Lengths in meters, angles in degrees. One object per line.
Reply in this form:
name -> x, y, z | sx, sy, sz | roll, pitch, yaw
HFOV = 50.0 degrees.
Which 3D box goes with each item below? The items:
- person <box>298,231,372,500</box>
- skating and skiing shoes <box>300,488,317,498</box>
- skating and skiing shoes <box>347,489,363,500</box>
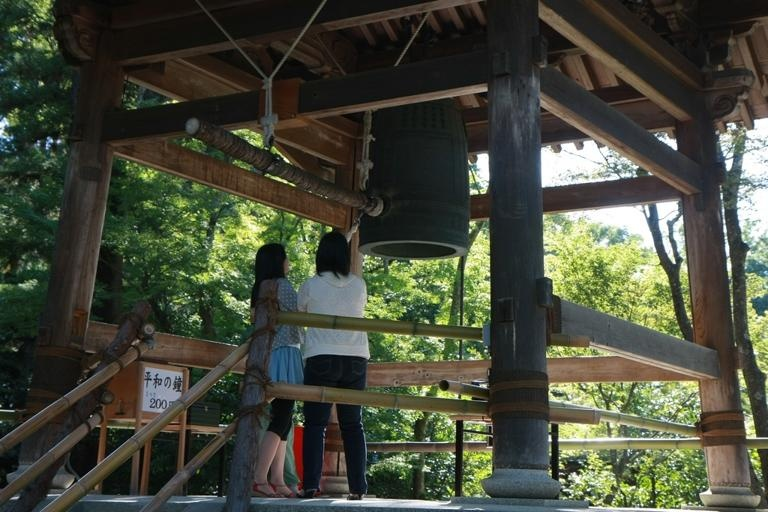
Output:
person -> -0.478, 0.958, 7.764 | 0.713, 2.531, 0.676 | 3, -15, -1
skating and skiing shoes -> -0.695, 2.209, 7.678 | 0.176, 0.064, 0.063 | -5, -13, 25
skating and skiing shoes -> -0.268, 2.189, 7.582 | 0.170, 0.072, 0.055 | 2, -7, 29
